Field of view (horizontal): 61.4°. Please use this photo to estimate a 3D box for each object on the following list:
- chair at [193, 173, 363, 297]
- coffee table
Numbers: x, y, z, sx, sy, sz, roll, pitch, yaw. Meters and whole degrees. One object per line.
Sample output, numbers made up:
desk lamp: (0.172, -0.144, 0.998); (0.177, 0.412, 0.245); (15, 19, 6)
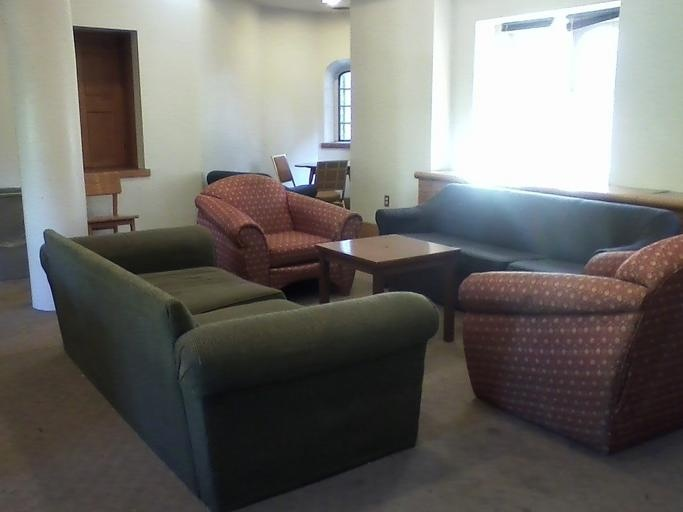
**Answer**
chair: (-0.613, -0.046, 4.971); (1.152, 0.947, 1.182); (-8, 15, -38)
coffee table: (0.389, 0.056, 4.193); (0.771, 0.672, 0.833); (-6, 12, -34)
